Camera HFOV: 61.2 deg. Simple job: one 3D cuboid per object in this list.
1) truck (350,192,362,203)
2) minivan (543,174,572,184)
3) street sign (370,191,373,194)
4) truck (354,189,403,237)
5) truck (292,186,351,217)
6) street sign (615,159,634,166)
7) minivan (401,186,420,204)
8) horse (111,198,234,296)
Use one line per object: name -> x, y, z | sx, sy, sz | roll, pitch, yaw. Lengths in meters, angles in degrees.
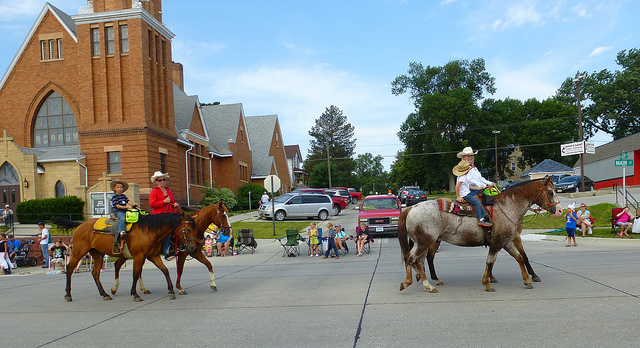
truck -> 5.090, 3.328, 76.716 | 1.701, 1.298, 3.215 | -1, -4, 2
minivan -> 24.121, 0.507, 54.958 | 2.083, 0.836, 1.197 | -7, 5, -22
street sign -> 16.464, 5.915, 173.681 | 0.738, 0.618, 0.386 | -3, -12, 16
truck -> 4.704, 3.186, 43.815 | 3.368, 2.490, 5.237 | -2, -5, 7
truck -> 0.645, 3.168, 59.565 | 7.243, 2.097, 3.179 | 1, -1, -4
street sign -> 23.350, -0.898, 41.649 | 1.525, 0.561, 0.671 | -5, 10, -14
minivan -> 10.789, 2.356, 65.608 | 1.446, 1.260, 2.494 | 1, 9, 9
horse -> -7.352, 3.450, 29.081 | 8.365, 5.856, 4.626 | -3, -2, 11
